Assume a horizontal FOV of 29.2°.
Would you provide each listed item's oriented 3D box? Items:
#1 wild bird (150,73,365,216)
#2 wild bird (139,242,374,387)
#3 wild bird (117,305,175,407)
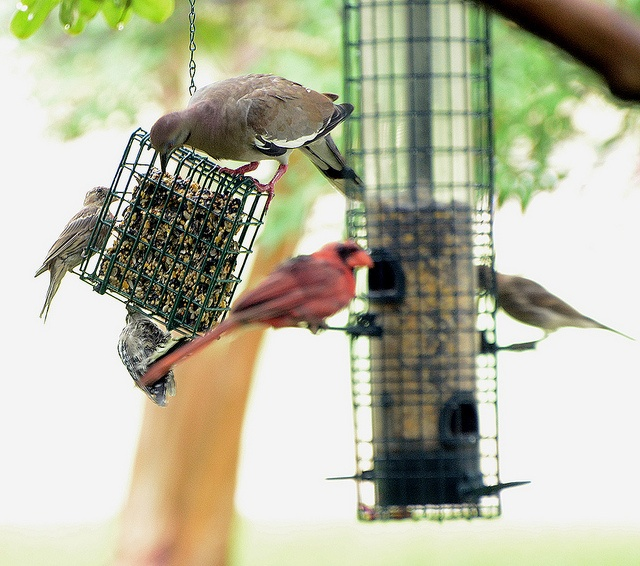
[{"bbox_3d":[-0.330,-0.850,7.346,1.554,0.884,0.650,-19,34,-40],"label":"wild bird"},{"bbox_3d":[-0.296,0.109,6.892,1.368,0.574,0.333,-10,8,-20],"label":"wild bird"},{"bbox_3d":[-0.968,0.397,6.828,0.305,0.558,0.207,-4,-12,14],"label":"wild bird"}]
